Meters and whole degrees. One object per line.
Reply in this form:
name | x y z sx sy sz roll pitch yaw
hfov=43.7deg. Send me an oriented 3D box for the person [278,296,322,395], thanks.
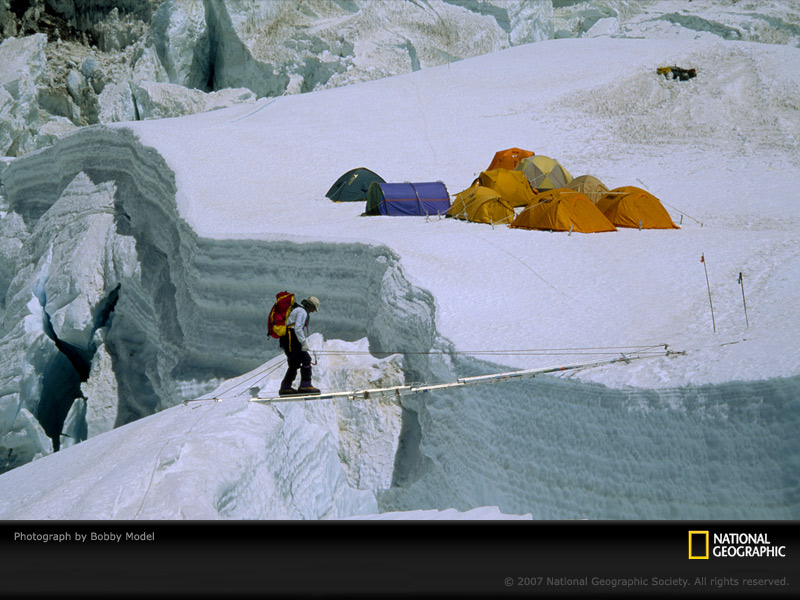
person | -2.407 1.156 23.879 1.087 2.594 1.070 -8 34 -21
